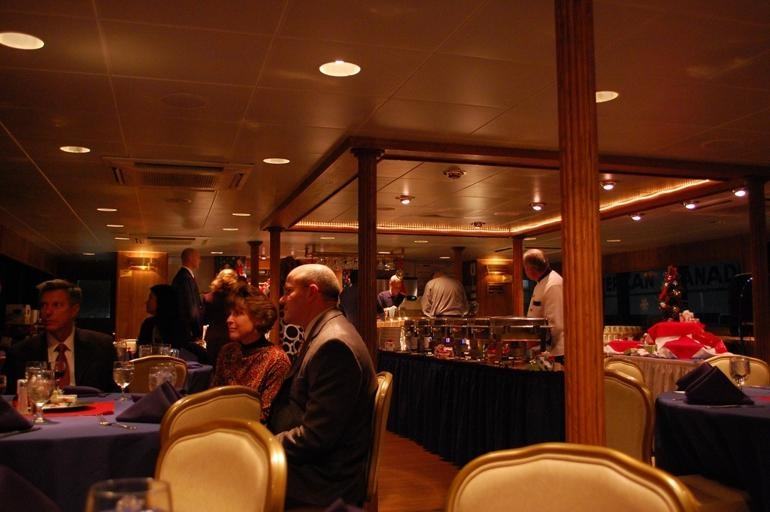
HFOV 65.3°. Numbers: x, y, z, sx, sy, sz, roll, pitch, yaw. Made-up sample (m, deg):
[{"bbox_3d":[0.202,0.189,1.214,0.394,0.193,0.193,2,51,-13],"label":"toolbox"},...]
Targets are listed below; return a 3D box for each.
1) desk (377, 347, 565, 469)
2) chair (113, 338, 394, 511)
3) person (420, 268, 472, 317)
[{"bbox_3d":[0.992,1.391,5.801,0.468,0.740,2.846,1,-7,-42],"label":"desk"},{"bbox_3d":[-0.712,0.853,3.321,0.949,1.305,1.086,6,-6,-40],"label":"chair"},{"bbox_3d":[0.887,0.555,8.931,0.749,0.679,0.665,-5,-8,26],"label":"person"}]
